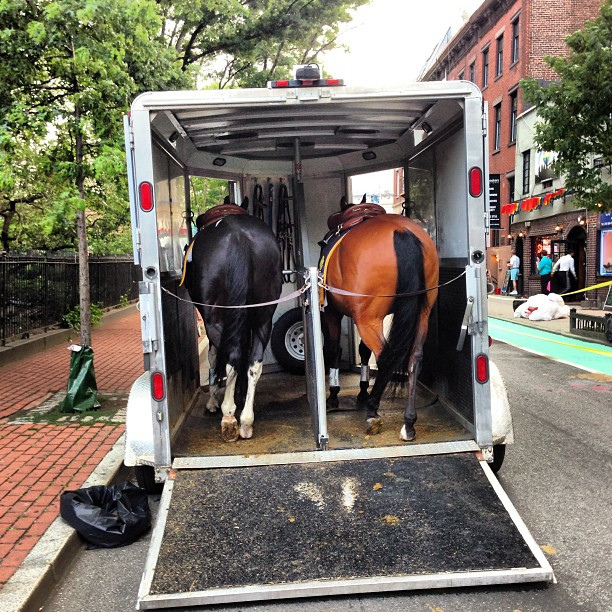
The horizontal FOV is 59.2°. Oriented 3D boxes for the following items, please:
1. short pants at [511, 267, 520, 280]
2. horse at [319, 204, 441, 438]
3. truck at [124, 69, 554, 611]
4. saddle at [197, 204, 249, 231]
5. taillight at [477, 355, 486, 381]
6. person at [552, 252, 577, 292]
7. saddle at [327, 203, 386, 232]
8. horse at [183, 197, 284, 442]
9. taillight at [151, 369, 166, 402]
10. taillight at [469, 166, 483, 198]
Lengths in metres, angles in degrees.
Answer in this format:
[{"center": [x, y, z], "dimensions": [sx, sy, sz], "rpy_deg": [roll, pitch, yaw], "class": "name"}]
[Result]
[{"center": [10.623, -1.672, 27.228], "dimensions": [0.318, 0.662, 0.549], "rpy_deg": [1, 7, 22], "class": "short pants"}, {"center": [0.549, 0.034, 5.050], "dimensions": [0.749, 2.029, 2.521], "rpy_deg": [3, -1, -10], "class": "horse"}, {"center": [0.070, -0.029, 5.148], "dimensions": [2.840, 3.410, 5.162], "rpy_deg": [-1, 8, -3], "class": "truck"}, {"center": [-0.884, -0.894, 5.288], "dimensions": [0.643, 0.213, 0.553], "rpy_deg": [0, 7, 13], "class": "saddle"}, {"center": [1.289, 0.437, 3.924], "dimensions": [0.062, 0.181, 0.026], "rpy_deg": [0, 6, 8], "class": "taillight"}, {"center": [10.421, -1.338, 21.672], "dimensions": [0.743, 1.475, 2.861], "rpy_deg": [2, 8, 25], "class": "person"}, {"center": [0.487, -0.870, 5.229], "dimensions": [0.299, 0.220, 0.432], "rpy_deg": [-11, 7, -8], "class": "saddle"}, {"center": [-0.776, -0.121, 5.441], "dimensions": [0.807, 2.330, 2.696], "rpy_deg": [0, 7, -11], "class": "horse"}, {"center": [-1.044, 0.544, 3.778], "dimensions": [0.097, 0.217, 0.037], "rpy_deg": [-3, 6, -19], "class": "taillight"}, {"center": [1.228, -0.886, 3.867], "dimensions": [0.100, 0.216, 0.025], "rpy_deg": [-1, 6, 7], "class": "taillight"}]
